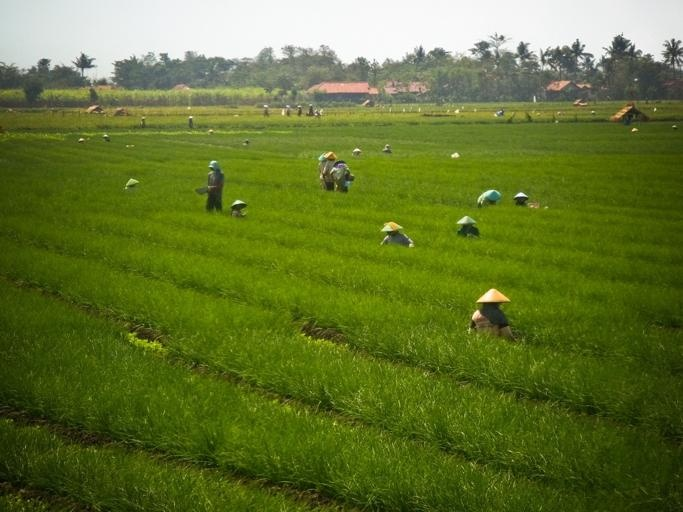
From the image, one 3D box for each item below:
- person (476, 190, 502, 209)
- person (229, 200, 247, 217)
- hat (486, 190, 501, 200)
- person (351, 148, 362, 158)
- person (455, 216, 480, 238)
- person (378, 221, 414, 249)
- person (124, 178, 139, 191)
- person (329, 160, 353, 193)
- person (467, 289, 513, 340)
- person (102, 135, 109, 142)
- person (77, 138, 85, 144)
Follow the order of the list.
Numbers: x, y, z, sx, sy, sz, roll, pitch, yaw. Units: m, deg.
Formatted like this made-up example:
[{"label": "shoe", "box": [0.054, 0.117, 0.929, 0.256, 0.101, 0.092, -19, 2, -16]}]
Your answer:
[{"label": "person", "box": [6.274, -2.393, 29.429, 0.860, 0.390, 0.900, 3, 24, 41]}, {"label": "person", "box": [-4.115, -1.741, 27.490, 0.554, 0.747, 0.660, 0, 49, -16]}, {"label": "hat", "box": [6.453, -2.485, 29.564, 0.571, 0.497, 0.972, 6, 17, 10]}, {"label": "person", "box": [1.066, -7.107, 48.320, 0.378, 0.554, 1.230, 0, 7, -2]}, {"label": "person", "box": [4.495, -0.983, 24.596, 0.766, 0.746, 0.760, 0, 7, 12]}, {"label": "person", "box": [1.853, -0.646, 23.731, 0.727, 0.969, 0.477, -13, -1, 43]}, {"label": "person", "box": [-10.101, -3.376, 33.248, 0.814, 0.630, 0.334, -10, -17, -11]}, {"label": "person", "box": [0.100, -3.716, 32.795, 0.923, 1.335, 1.418, 8, 17, 20]}, {"label": "person", "box": [3.625, 1.646, 16.758, 1.048, 1.652, 0.852, -1, 0, 32]}, {"label": "person", "box": [-17.898, -8.808, 52.530, 0.701, 0.310, 1.017, -1, 16, -11]}, {"label": "person", "box": [-18.626, -8.075, 49.150, 0.455, 0.546, 0.872, 1, 8, -8]}]
